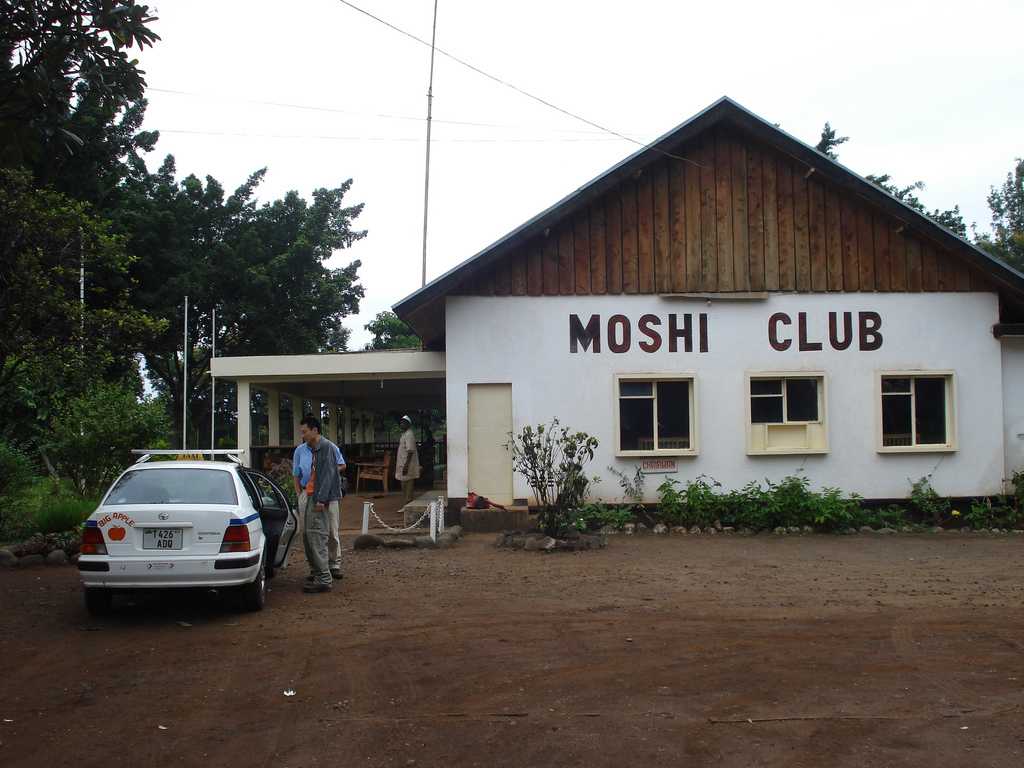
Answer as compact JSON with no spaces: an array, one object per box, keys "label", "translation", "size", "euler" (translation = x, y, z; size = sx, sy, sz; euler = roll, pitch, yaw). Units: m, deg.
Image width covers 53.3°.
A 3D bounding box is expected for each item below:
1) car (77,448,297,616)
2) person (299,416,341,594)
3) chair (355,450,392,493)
[{"label":"car","translation":[-4.099,1.848,13.532],"size":[1.681,1.168,2.622],"euler":[0,-1,-4]},{"label":"person","translation":[-2.665,1.663,14.396],"size":[0.500,2.345,0.859],"euler":[-1,3,-11]},{"label":"chair","translation":[-4.112,2.604,30.394],"size":[1.015,1.564,1.410],"euler":[1,-4,4]}]
